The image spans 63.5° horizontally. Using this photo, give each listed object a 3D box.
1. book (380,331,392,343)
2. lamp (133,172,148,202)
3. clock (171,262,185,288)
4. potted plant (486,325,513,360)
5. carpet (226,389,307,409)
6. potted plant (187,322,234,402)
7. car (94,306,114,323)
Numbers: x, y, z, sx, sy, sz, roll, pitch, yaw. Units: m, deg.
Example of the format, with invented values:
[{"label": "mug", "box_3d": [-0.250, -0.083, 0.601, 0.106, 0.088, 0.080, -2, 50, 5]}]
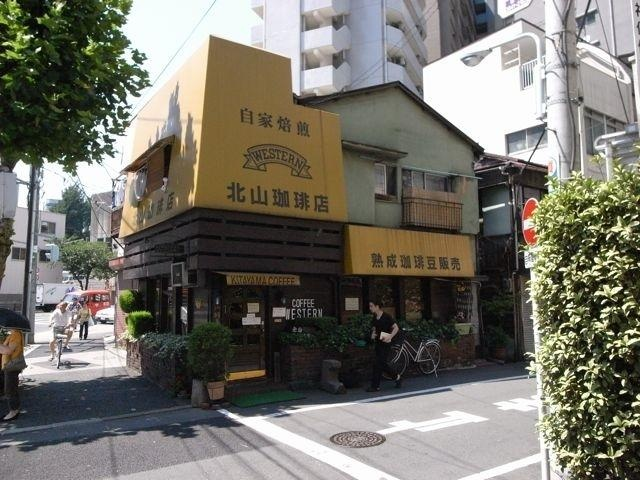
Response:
[{"label": "book", "box_3d": [1.893, 2.805, 14.956, 0.280, 0.311, 0.070, 5, -5, 7]}, {"label": "lamp", "box_3d": [-6.306, -1.870, 18.504, 0.235, 1.108, 0.700, 1, -6, -39]}, {"label": "clock", "box_3d": [-4.234, 1.001, 15.379, 0.179, 0.677, 1.125, 1, -3, -34]}, {"label": "potted plant", "box_3d": [7.637, 4.205, 21.136, 1.119, 1.641, 1.082, -10, -17, 43]}, {"label": "carpet", "box_3d": [-1.452, 4.232, 13.859, 1.915, 0.076, 1.167, 1, -3, -33]}, {"label": "potted plant", "box_3d": [-2.830, 3.201, 13.346, 1.099, 2.116, 0.536, 0, -2, -14]}, {"label": "car", "box_3d": [-16.248, 5.828, 39.337, 1.815, 1.170, 0.888, -3, -3, 43]}]
